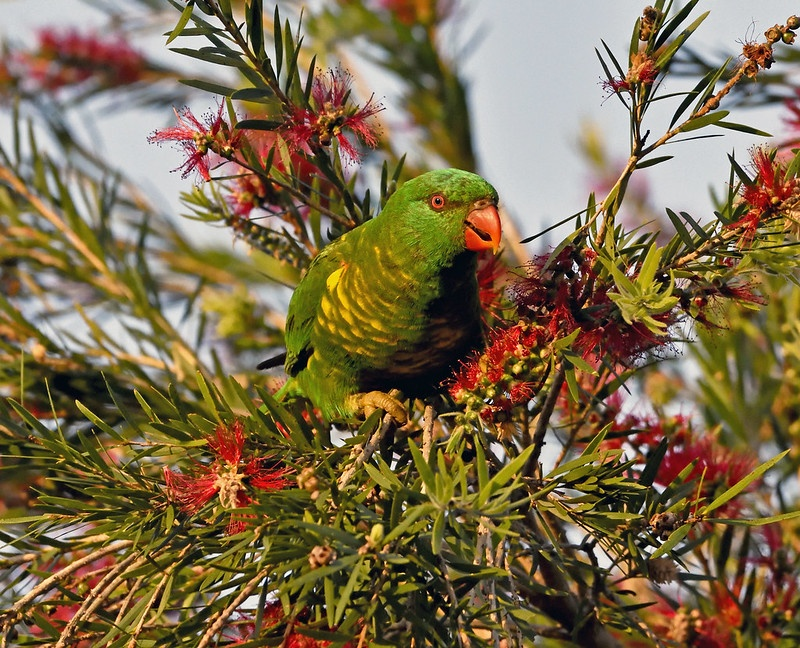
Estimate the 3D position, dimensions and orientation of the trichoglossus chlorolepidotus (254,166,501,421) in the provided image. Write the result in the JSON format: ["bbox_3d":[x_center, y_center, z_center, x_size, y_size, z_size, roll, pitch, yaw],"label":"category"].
[{"bbox_3d":[-0.013,-0.100,3.805,0.837,0.730,0.423,1,-3,39],"label":"trichoglossus chlorolepidotus"}]

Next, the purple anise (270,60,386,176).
[{"bbox_3d":[-0.192,-0.586,3.562,0.289,0.253,0.297,5,43,-23],"label":"purple anise"}]

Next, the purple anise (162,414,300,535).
[{"bbox_3d":[-0.414,0.378,3.297,0.260,0.141,0.299,0,73,8],"label":"purple anise"}]
